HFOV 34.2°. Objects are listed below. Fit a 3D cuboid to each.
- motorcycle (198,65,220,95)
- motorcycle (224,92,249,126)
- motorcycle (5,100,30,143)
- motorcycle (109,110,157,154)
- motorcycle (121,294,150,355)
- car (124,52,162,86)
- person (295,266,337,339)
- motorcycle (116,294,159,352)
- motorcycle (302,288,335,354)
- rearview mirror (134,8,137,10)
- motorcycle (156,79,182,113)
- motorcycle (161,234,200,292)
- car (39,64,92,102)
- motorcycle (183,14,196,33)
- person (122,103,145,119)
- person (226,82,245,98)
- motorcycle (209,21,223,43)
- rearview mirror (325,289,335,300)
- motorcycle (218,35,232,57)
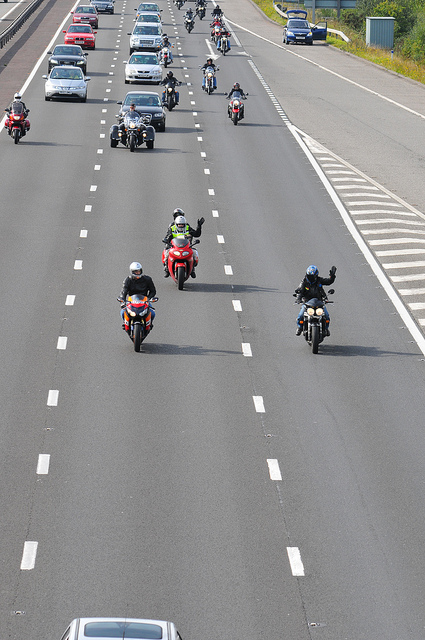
[{"bbox_3d":[-0.203,-16.522,48.028,0.761,1.793,1.476,1,11,0],"label":"motorcycle"},{"bbox_3d":[1.348,-12.099,40.068,0.866,1.845,1.710,0,12,-5],"label":"motorcycle"},{"bbox_3d":[-9.824,-9.873,34.629,0.915,2.071,1.275,-5,13,-31],"label":"motorcycle"},{"bbox_3d":[-4.066,-9.402,34.954,1.517,1.662,2.769,0,8,-5],"label":"motorcycle"},{"bbox_3d":[-1.535,0.079,14.246,0.540,1.080,0.791,-4,12,-24],"label":"motorcycle"},{"bbox_3d":[-5.024,-17.784,50.703,2.024,2.071,5.105,0,33,-6],"label":"car"},{"bbox_3d":[2.195,-0.713,15.157,0.677,1.040,1.712,-1,29,2],"label":"person"},{"bbox_3d":[-1.527,0.070,14.265,0.536,1.070,0.783,-3,12,-23],"label":"motorcycle"},{"bbox_3d":[2.167,-0.099,14.944,0.599,1.252,1.771,4,16,6],"label":"motorcycle"},{"bbox_3d":[-9.944,-39.948,89.368,0.321,0.093,0.406,1,61,-11],"label":"rearview mirror"},{"bbox_3d":[-2.727,-14.314,44.394,1.486,2.172,3.181,1,21,-1],"label":"motorcycle"},{"bbox_3d":[-0.877,-1.554,18.864,0.805,1.381,0.939,-4,13,-26],"label":"motorcycle"},{"bbox_3d":[-9.288,-14.965,43.973,2.528,2.237,2.125,2,12,1],"label":"car"},{"bbox_3d":[-2.627,-32.402,75.795,1.031,1.427,2.238,0,44,-1],"label":"motorcycle"},{"bbox_3d":[-4.166,-10.770,36.027,1.285,0.919,0.445,-1,13,-3],"label":"person"},{"bbox_3d":[1.348,-13.383,40.329,0.690,0.942,1.471,1,5,0],"label":"person"},{"bbox_3d":[0.360,-28.091,68.256,1.198,1.564,2.648,2,42,-5],"label":"motorcycle"},{"bbox_3d":[2.800,-0.582,16.445,0.070,0.204,0.567,-4,23,22],"label":"rearview mirror"},{"bbox_3d":[1.090,-24.595,62.363,1.111,1.787,2.969,-2,29,-1],"label":"motorcycle"}]
